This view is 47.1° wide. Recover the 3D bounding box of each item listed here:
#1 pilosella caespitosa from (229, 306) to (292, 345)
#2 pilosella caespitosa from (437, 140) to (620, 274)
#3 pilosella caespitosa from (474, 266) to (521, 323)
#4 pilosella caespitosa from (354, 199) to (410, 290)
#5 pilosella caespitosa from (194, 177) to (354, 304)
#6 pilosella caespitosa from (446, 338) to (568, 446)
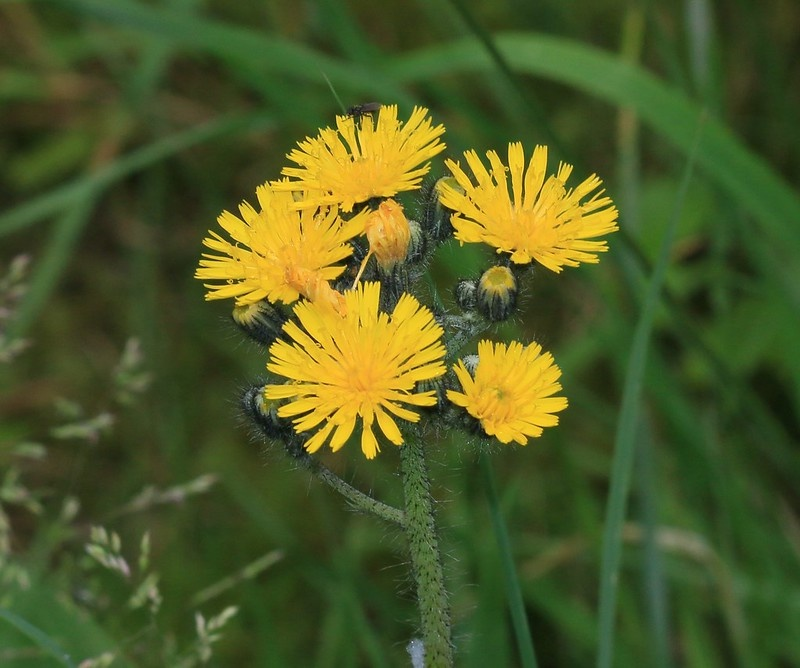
[{"bbox_3d":[-0.364,-0.027,2.491,0.122,0.056,0.101,32,59,5],"label":"pilosella caespitosa"},{"bbox_3d":[0.315,-0.356,2.600,0.539,0.572,0.234,-2,91,-34],"label":"pilosella caespitosa"},{"bbox_3d":[0.258,-0.104,2.439,0.098,0.144,0.153,5,91,11],"label":"pilosella caespitosa"},{"bbox_3d":[-0.029,-0.259,2.454,0.137,0.053,0.158,-39,81,-6],"label":"pilosella caespitosa"},{"bbox_3d":[-0.333,-0.218,2.470,0.347,0.151,0.370,-3,49,26],"label":"pilosella caespitosa"},{"bbox_3d":[0.285,0.143,2.385,0.296,0.226,0.265,39,82,8],"label":"pilosella caespitosa"}]
